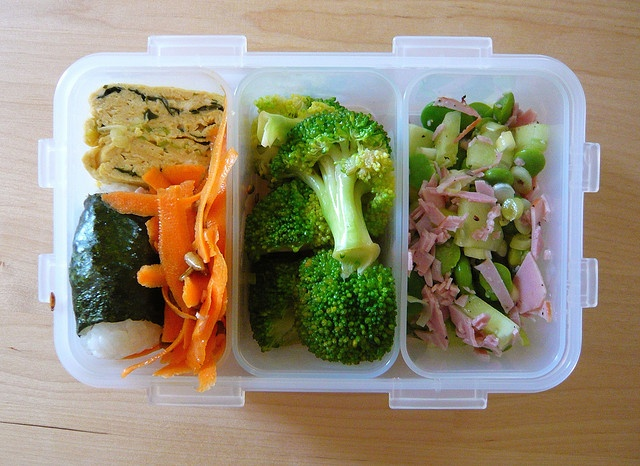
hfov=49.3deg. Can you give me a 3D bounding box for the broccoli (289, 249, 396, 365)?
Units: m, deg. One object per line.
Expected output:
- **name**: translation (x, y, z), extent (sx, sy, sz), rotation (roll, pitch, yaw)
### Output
- **broccoli**: translation (0.054, 0.210, 2.262), extent (0.287, 0.333, 0.332), rotation (-3, 100, -5)

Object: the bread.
- **bread**: translation (-0.502, -0.327, 2.165), extent (0.396, 0.136, 0.292), rotation (2, 94, -9)

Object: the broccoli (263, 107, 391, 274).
- **broccoli**: translation (0.062, -0.182, 2.164), extent (0.346, 0.270, 0.534), rotation (-3, 106, 0)

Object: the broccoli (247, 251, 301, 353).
- **broccoli**: translation (-0.126, 0.218, 2.204), extent (0.124, 0.188, 0.281), rotation (-4, 105, -3)

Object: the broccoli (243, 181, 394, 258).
- **broccoli**: translation (-0.048, -0.113, 2.330), extent (0.421, 0.355, 0.245), rotation (-8, 106, -5)
